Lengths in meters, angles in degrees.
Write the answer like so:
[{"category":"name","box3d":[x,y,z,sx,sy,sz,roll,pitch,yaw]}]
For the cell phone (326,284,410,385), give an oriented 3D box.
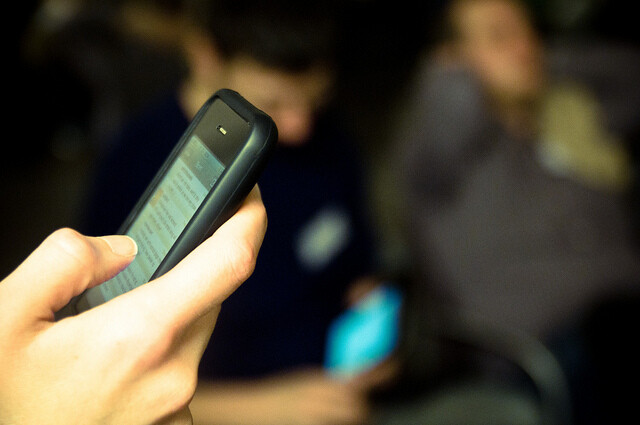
[{"category":"cell phone","box3d":[0.082,0.167,0.902,0.108,0.180,0.043,-21,104,11]}]
